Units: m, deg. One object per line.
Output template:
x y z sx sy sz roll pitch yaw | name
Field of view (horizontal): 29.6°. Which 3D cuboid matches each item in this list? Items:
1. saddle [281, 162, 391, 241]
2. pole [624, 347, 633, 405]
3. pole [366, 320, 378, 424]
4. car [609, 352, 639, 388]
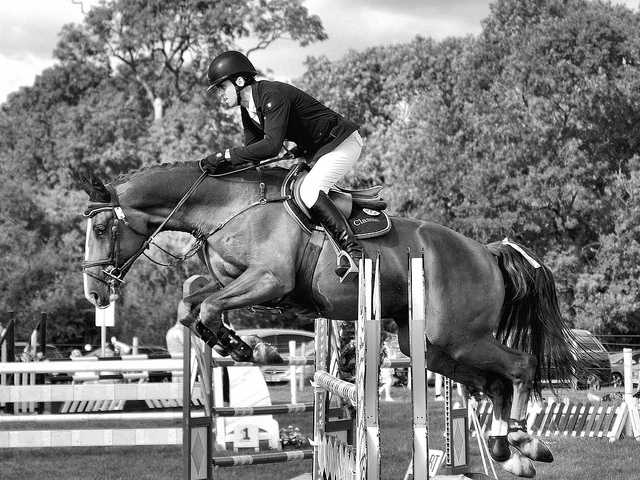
0.111 -0.754 18.715 1.510 1.301 1.287 -3 6 -18 | saddle
5.766 2.514 22.609 0.141 1.014 0.325 -1 -3 12 | pole
0.745 1.877 17.452 0.178 1.485 0.117 0 -3 -9 | pole
7.550 3.158 29.916 0.774 0.878 3.377 -1 -2 13 | car
